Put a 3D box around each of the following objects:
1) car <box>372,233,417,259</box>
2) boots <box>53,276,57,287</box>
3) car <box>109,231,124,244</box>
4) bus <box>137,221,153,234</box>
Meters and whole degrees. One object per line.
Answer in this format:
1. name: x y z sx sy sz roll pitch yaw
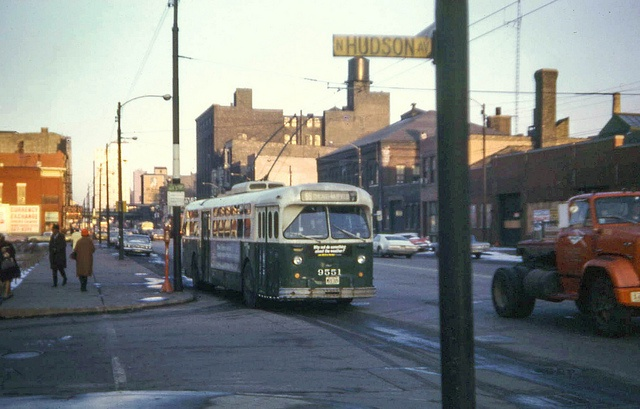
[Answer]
1. car: 4.679 2.654 51.222 1.343 1.482 2.969 -1 -1 -44
2. boots: -9.858 2.757 29.779 0.151 0.537 0.355 -1 0 -23
3. car: -16.510 2.691 64.783 1.252 1.149 2.225 1 -6 -24
4. bus: -30.434 3.913 139.495 1.847 1.778 2.908 1 -2 -28
